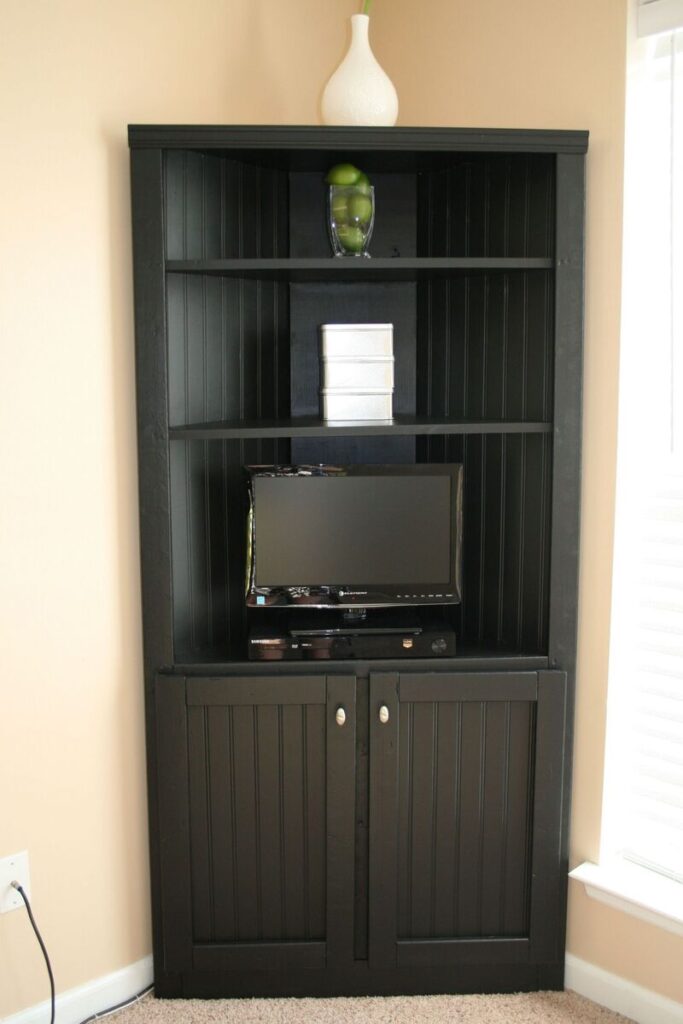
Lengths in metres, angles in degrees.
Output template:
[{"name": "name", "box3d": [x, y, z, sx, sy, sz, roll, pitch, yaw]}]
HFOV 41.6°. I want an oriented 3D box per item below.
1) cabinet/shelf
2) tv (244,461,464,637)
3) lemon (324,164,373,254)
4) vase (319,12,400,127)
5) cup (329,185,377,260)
[{"name": "cabinet/shelf", "box3d": [0.033, 0.119, 1.821, 0.847, 1.701, 0.483, 1, 2, -3]}, {"name": "tv", "box3d": [0.026, 0.068, 1.762, 0.293, 0.266, 0.057, 0, 6, -1]}, {"name": "lemon", "box3d": [0.016, -0.564, 1.707, 0.084, 0.186, 0.092, 1, 2, -2]}, {"name": "vase", "box3d": [0.031, -0.809, 1.675, 0.127, 0.229, 0.102, 2, 2, 40]}, {"name": "cup", "box3d": [0.016, -0.565, 1.751, 0.116, 0.149, 0.120, -2, 16, 0]}]
